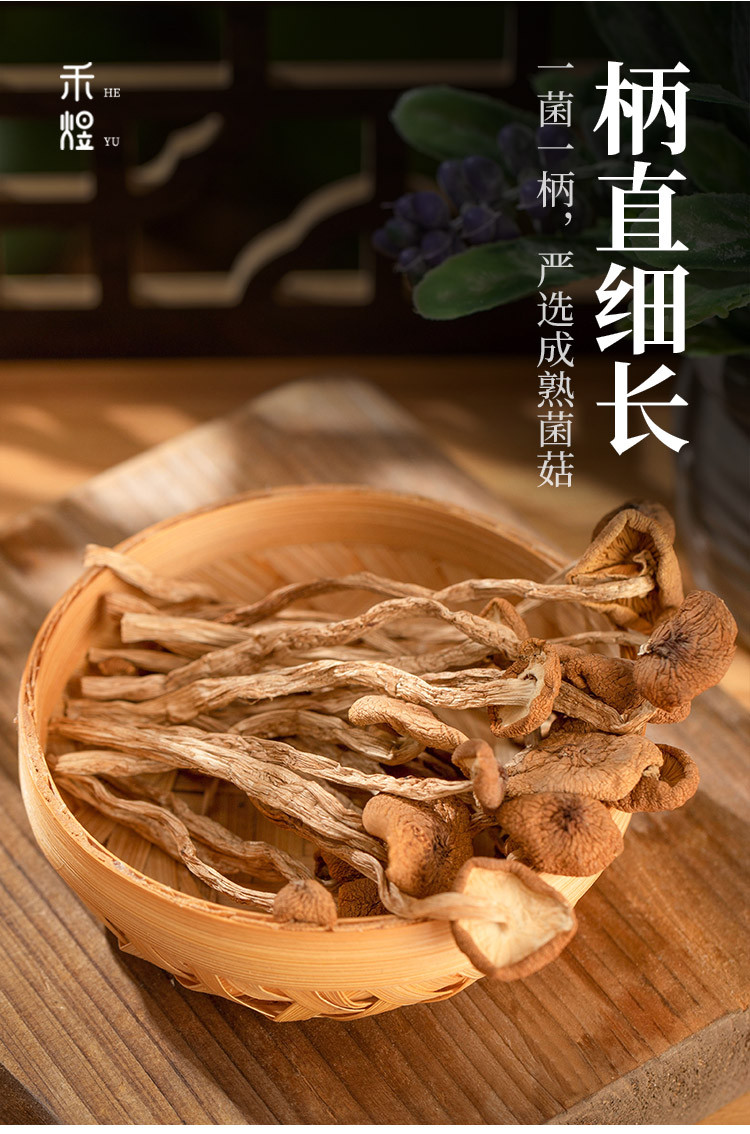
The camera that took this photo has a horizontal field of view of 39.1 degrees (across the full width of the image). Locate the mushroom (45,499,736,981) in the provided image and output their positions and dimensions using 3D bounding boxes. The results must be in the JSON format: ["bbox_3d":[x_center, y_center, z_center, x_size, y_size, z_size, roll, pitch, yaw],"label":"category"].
[{"bbox_3d":[0.004,0.164,0.908,0.584,0.205,0.401,15,41,2],"label":"mushroom"}]

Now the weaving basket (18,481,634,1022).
[{"bbox_3d":[-0.125,0.233,1.011,0.575,0.184,0.511,-15,49,-16],"label":"weaving basket"}]

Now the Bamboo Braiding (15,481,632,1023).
[{"bbox_3d":[-0.024,0.209,0.881,0.458,0.440,0.151,23,76,23],"label":"Bamboo Braiding"}]

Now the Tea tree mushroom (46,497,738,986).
[{"bbox_3d":[-0.001,0.171,0.906,0.580,0.202,0.396,14,42,0],"label":"Tea tree mushroom"}]
